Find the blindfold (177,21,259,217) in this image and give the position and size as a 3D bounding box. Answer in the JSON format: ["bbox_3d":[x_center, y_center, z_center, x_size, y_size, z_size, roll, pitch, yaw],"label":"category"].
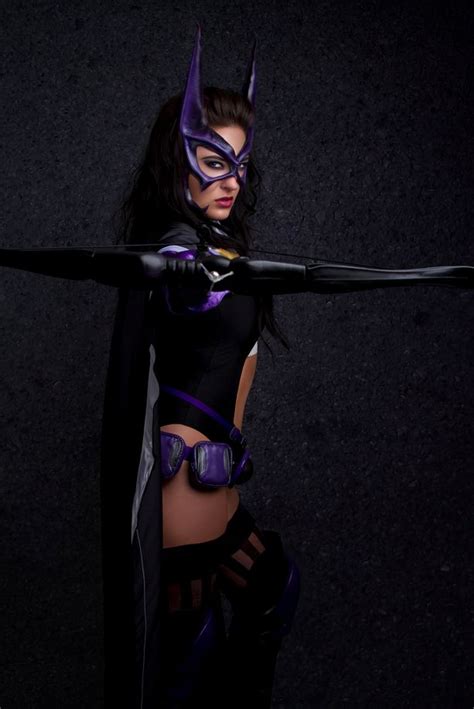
[{"bbox_3d":[-0.018,-0.438,1.426,0.173,0.070,0.338,-5,106,-37],"label":"blindfold"}]

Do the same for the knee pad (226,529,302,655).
[{"bbox_3d":[0.028,0.482,1.549,0.219,0.151,0.191,-4,102,-11],"label":"knee pad"}]
